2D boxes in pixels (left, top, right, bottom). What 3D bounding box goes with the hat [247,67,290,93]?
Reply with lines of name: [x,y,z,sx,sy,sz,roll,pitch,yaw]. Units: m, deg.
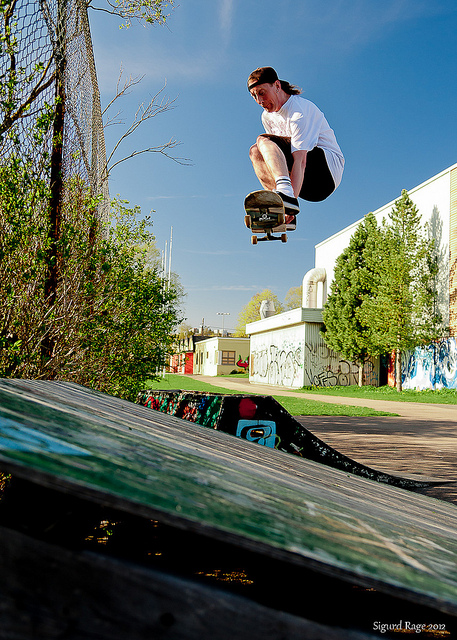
hat: [0.299,-2.112,5.322,0.242,0.172,0.154,2,-7,7]

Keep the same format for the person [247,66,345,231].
person: [0.548,-1.544,5.676,0.754,1.205,1.095,0,-7,24]
